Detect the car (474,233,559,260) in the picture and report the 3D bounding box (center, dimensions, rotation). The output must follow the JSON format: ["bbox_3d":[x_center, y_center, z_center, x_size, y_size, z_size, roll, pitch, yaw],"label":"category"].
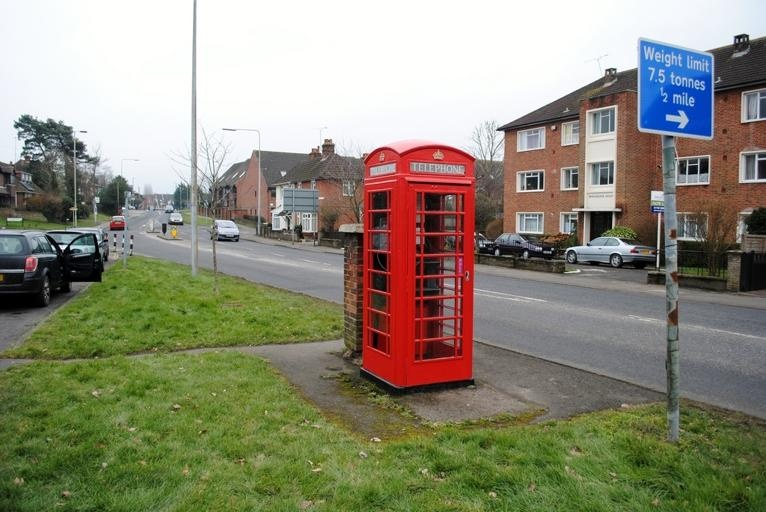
[{"bbox_3d":[7.385,-0.510,34.582,1.942,1.424,6.532,0,10,-15],"label":"car"}]

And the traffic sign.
[{"bbox_3d":[3.910,-2.150,7.961,1.292,1.208,0.023,3,-2,-20],"label":"traffic sign"}]
